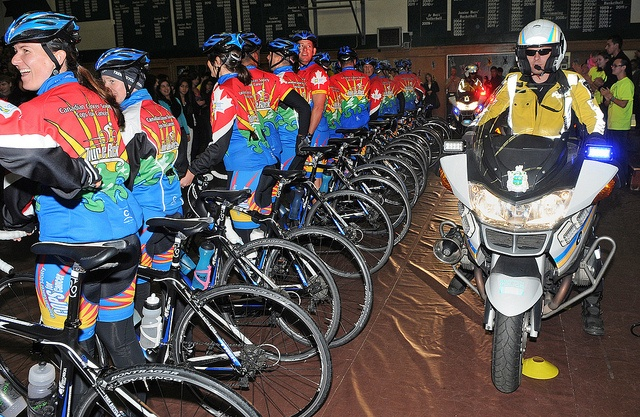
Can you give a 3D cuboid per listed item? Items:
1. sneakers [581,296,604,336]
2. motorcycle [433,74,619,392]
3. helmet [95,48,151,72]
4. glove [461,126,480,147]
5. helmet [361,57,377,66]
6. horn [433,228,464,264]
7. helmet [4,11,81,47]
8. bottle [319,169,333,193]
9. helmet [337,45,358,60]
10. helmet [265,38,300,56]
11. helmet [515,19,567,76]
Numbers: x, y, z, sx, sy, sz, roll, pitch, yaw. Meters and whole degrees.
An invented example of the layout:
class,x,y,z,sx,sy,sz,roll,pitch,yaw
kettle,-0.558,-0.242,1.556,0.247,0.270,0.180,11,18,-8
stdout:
class,x,y,z,sx,sy,sz,roll,pitch,yaw
sneakers,2.562,0.958,4.437,0.187,0.146,0.653,5,27,26
motorcycle,1.638,0.149,3.757,1.220,2.271,1.596,11,24,35
helmet,-1.517,-1.125,3.588,0.306,0.123,0.214,-5,9,-24
glove,1.240,-0.604,3.917,0.069,0.137,0.191,9,42,1
helmet,1.059,-3.215,10.310,0.430,0.221,0.591,2,18,5
horn,1.029,0.303,3.815,0.206,0.262,0.192,0,-1,20
helmet,-1.649,-1.012,2.793,0.345,0.138,0.250,-4,23,-22
bottle,0.064,-0.355,6.175,0.126,0.316,0.046,7,6,-7
helmet,0.420,-2.629,8.110,0.305,0.291,0.237,22,33,16
helmet,-0.484,-2.050,5.995,0.365,0.135,0.256,10,25,-8
helmet,1.882,-1.389,3.974,0.391,0.441,0.451,-4,27,14
